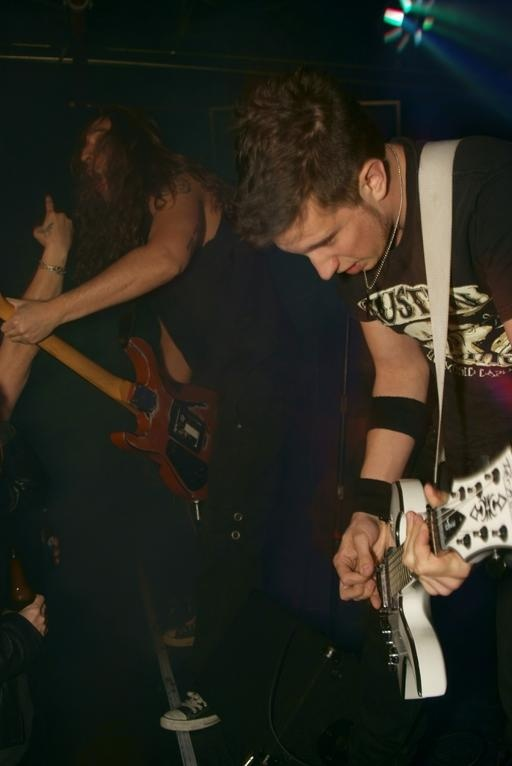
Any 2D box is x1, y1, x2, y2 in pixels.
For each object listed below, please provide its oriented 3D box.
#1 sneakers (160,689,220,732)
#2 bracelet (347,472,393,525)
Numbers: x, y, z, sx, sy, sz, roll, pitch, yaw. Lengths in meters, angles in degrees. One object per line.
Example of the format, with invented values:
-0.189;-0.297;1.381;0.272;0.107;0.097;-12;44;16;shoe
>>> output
-0.213;1.058;2.096;0.159;0.068;0.149;-16;12;-33;sneakers
0.297;0.295;1.702;0.103;0.098;0.044;10;2;33;bracelet
